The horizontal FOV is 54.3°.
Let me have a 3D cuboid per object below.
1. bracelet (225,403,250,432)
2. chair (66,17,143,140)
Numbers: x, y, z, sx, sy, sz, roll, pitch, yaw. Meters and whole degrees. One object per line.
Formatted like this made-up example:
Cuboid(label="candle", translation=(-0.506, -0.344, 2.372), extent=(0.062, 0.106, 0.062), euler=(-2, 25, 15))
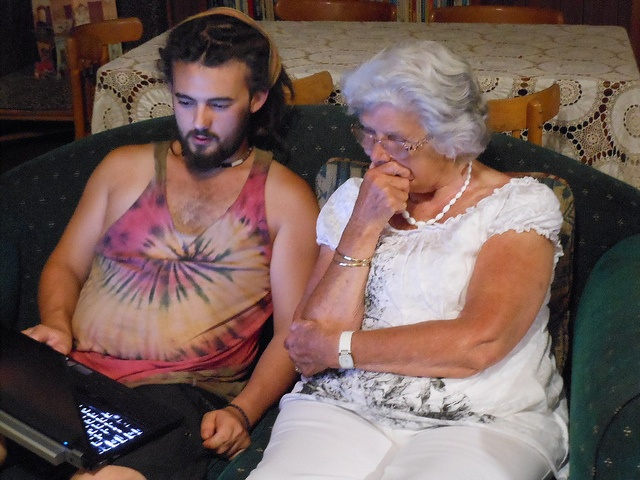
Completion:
Cuboid(label="bracelet", translation=(-0.204, 0.437, 1.555), extent=(0.058, 0.014, 0.059), euler=(-6, 58, -51))
Cuboid(label="chair", translation=(-1.027, -0.655, 3.062), extent=(0.349, 0.673, 0.400), euler=(-5, 25, -20))
